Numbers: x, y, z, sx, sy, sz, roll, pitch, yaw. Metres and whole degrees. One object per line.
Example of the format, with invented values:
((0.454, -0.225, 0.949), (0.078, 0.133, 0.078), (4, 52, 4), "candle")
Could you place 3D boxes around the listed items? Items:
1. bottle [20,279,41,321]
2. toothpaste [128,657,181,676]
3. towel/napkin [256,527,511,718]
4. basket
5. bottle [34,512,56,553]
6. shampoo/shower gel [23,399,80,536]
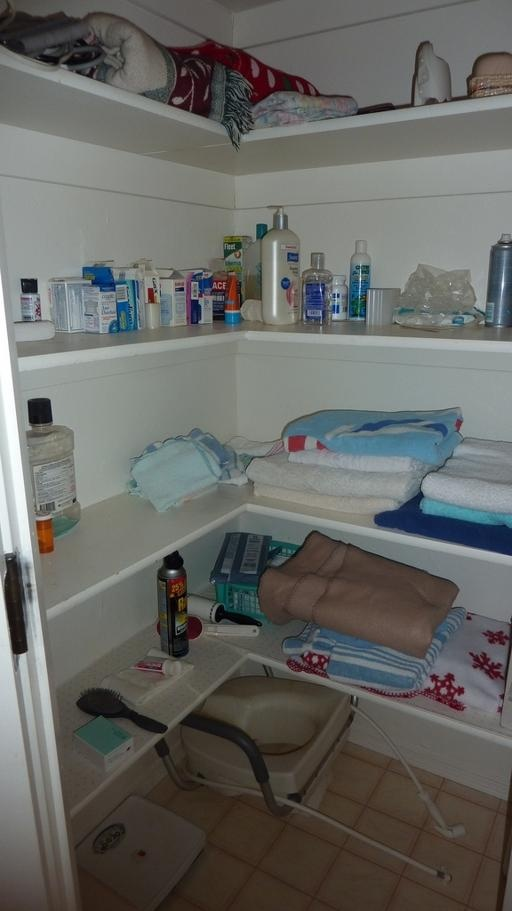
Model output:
((-0.355, -0.245, 0.988), (0.030, 0.064, 0.084), (-6, 13, -17), "bottle")
((-0.198, 0.421, 1.257), (0.057, 0.019, 0.041), (3, 12, 8), "toothpaste")
((0.246, 0.334, 1.245), (0.384, 0.143, 0.288), (13, 29, 26), "towel/napkin")
((-0.024, 0.277, 1.542), (0.143, 0.075, 0.200), (8, 18, 12), "basket")
((-0.338, 0.117, 1.019), (0.019, 0.067, 0.093), (-4, 13, -11), "bottle")
((-0.334, 0.016, 1.060), (0.059, 0.244, 0.200), (-3, 12, -3), "shampoo/shower gel")
